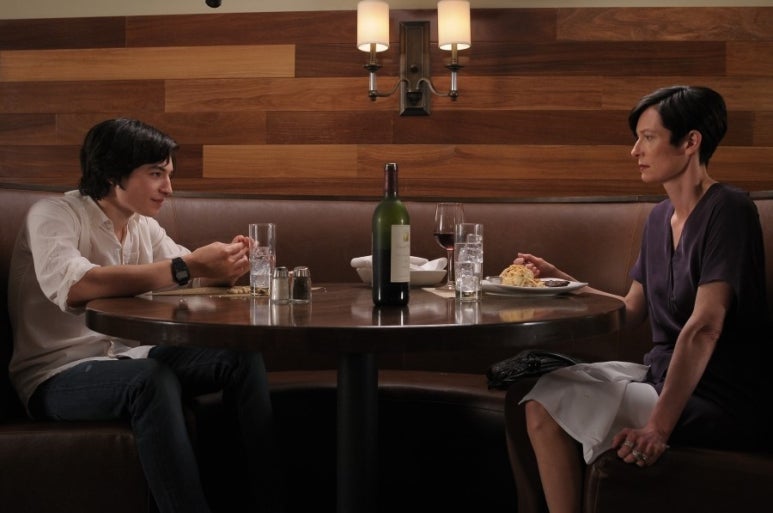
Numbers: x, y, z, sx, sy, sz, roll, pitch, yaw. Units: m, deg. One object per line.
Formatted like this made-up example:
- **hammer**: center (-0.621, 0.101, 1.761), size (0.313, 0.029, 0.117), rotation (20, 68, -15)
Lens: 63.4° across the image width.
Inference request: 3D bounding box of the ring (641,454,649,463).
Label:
- **ring**: center (0.882, 0.689, 2.122), size (0.013, 0.014, 0.034), rotation (1, -1, 8)

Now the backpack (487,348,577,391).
- **backpack**: center (0.588, 0.455, 2.562), size (0.287, 0.085, 0.186), rotation (-4, -6, 6)

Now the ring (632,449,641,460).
- **ring**: center (0.859, 0.677, 2.125), size (0.030, 0.029, 0.016), rotation (4, 15, 23)

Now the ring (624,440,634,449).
- **ring**: center (0.837, 0.644, 2.146), size (0.025, 0.017, 0.024), rotation (1, 2, 0)

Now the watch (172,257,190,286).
- **watch**: center (-0.807, 0.058, 2.420), size (0.067, 0.103, 0.108), rotation (-20, -6, -23)

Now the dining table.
- **dining table**: center (-0.141, 0.560, 2.415), size (1.143, 0.661, 1.095), rotation (0, -3, 16)

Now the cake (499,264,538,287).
- **cake**: center (0.532, 0.075, 2.506), size (0.124, 0.052, 0.095), rotation (-1, -3, 5)
